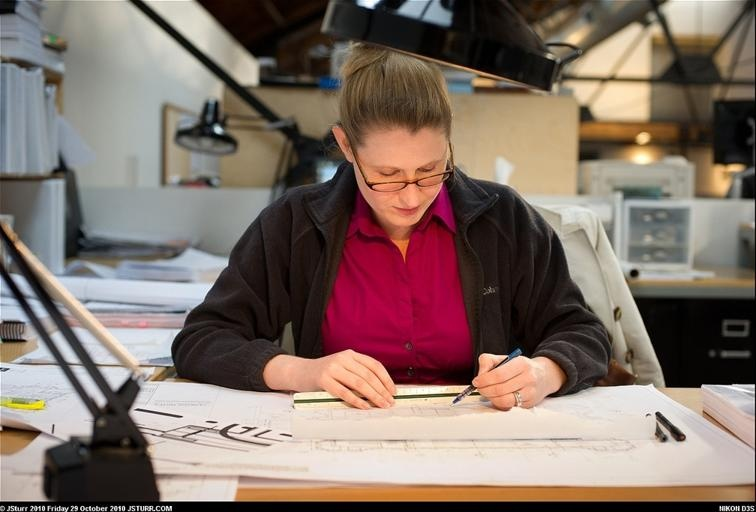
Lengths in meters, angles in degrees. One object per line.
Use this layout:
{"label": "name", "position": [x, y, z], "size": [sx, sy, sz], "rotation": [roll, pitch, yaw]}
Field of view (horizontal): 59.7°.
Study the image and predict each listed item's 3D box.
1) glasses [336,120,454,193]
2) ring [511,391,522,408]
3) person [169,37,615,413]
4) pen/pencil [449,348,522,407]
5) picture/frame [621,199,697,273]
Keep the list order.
{"label": "glasses", "position": [0.022, -0.219, 1.530], "size": [0.220, 0.059, 0.200], "rotation": [-10, 45, -14]}
{"label": "ring", "position": [0.288, 0.291, 1.333], "size": [0.023, 0.026, 0.010], "rotation": [2, -18, -20]}
{"label": "person", "position": [0.049, 0.006, 1.573], "size": [1.145, 0.913, 0.636], "rotation": [-2, 18, -4]}
{"label": "pen/pencil", "position": [0.241, 0.261, 1.413], "size": [0.174, 0.018, 0.020], "rotation": [-34, -44, 19]}
{"label": "picture/frame", "position": [1.244, -0.091, 2.881], "size": [0.359, 0.311, 0.184], "rotation": [-1, 2, -5]}
